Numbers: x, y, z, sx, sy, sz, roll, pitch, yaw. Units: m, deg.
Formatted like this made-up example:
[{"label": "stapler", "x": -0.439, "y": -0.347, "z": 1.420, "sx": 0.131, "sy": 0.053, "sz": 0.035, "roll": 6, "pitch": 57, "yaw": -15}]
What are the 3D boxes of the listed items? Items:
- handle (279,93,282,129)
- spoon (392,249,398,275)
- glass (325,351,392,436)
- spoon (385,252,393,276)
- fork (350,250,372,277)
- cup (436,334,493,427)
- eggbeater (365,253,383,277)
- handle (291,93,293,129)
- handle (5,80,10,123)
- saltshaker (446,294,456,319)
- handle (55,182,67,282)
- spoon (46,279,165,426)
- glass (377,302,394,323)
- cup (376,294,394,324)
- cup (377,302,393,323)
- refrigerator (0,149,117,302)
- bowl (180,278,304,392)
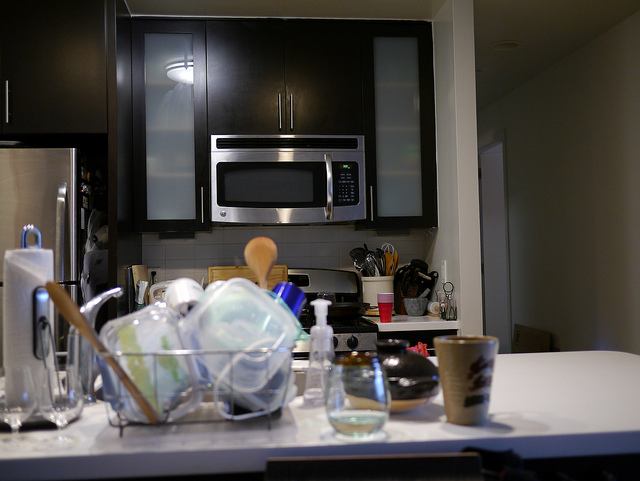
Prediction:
[{"label": "handle", "x": -0.216, "y": -0.712, "z": 3.289, "sx": 0.014, "sy": 0.194, "sz": 0.011, "roll": -2, "pitch": 2, "yaw": -9}, {"label": "spoon", "x": 0.443, "y": 0.127, "z": 3.525, "sx": 0.028, "sy": 0.139, "sz": 0.170, "roll": -1, "pitch": 2, "yaw": 8}, {"label": "glass", "x": 0.084, "y": 0.346, "z": 1.346, "sx": 0.140, "sy": 0.173, "sz": 0.085, "roll": -1, "pitch": 2, "yaw": 0}, {"label": "spoon", "x": 0.394, "y": 0.132, "z": 3.454, "sx": 0.054, "sy": 0.125, "sz": 0.035, "roll": -2, "pitch": 2, "yaw": -16}, {"label": "fork", "x": 0.236, "y": 0.121, "z": 3.405, "sx": 0.052, "sy": 0.210, "sz": 0.032, "roll": -27, "pitch": 2, "yaw": 0}, {"label": "cup", "x": 0.329, "y": 0.323, "z": 1.366, "sx": 0.124, "sy": 0.202, "sz": 0.061, "roll": -1, "pitch": 2, "yaw": 6}, {"label": "eggbeater", "x": 0.305, "y": 0.133, "z": 3.392, "sx": 0.048, "sy": 0.190, "sz": 0.041, "roll": -25, "pitch": 15, "yaw": -10}, {"label": "handle", "x": -0.154, "y": -0.715, "z": 3.296, "sx": 0.008, "sy": 0.191, "sz": 0.017, "roll": -1, "pitch": 2, "yaw": 12}, {"label": "handle", "x": -1.559, "y": -0.694, "z": 2.980, "sx": 0.019, "sy": 0.212, "sz": 0.025, "roll": -2, "pitch": 2, "yaw": -19}, {"label": "saltshaker", "x": 0.688, "y": 0.349, "z": 3.166, "sx": 0.059, "sy": 0.122, "sz": 0.038, "roll": -2, "pitch": 2, "yaw": -29}, {"label": "handle", "x": -1.231, "y": -0.045, "z": 2.834, "sx": 0.051, "sy": 0.471, "sz": 0.076, "roll": -1, "pitch": 2, "yaw": 3}, {"label": "spoon", "x": -0.551, "y": 0.286, "z": 1.506, "sx": 0.062, "sy": 0.482, "sz": 0.054, "roll": -33, "pitch": 16, "yaw": -6}, {"label": "glass", "x": 0.339, "y": 0.364, "z": 3.088, "sx": 0.079, "sy": 0.101, "sz": 0.086, "roll": -1, "pitch": -8, "yaw": 7}, {"label": "cup", "x": 0.334, "y": 0.354, "z": 3.096, "sx": 0.112, "sy": 0.198, "sz": 0.118, "roll": -1, "pitch": -11, "yaw": 0}, {"label": "cup", "x": 0.337, "y": 0.367, "z": 3.087, "sx": 0.079, "sy": 0.099, "sz": 0.085, "roll": 0, "pitch": -8, "yaw": 0}, {"label": "refrigerator", "x": -1.268, "y": -0.078, "z": 2.947, "sx": 0.545, "sy": 0.737, "sz": 0.349, "roll": -3, "pitch": 2, "yaw": -38}, {"label": "bowl", "x": -0.173, "y": 0.208, "z": 1.379, "sx": 0.257, "sy": 0.220, "sz": 0.095, "roll": 38, "pitch": -3, "yaw": 4}]
